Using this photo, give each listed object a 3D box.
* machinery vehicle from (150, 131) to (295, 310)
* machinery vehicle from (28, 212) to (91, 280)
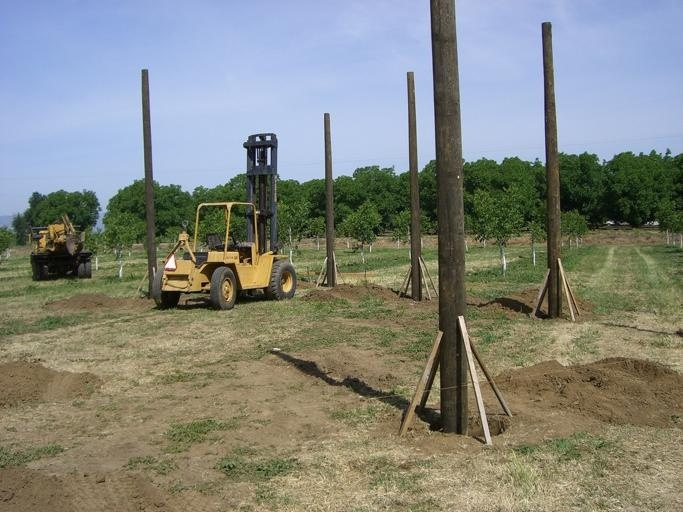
[{"bbox_3d":[-3.356,-1.066,17.698,2.807,5.240,3.977,1,9,14],"label":"machinery vehicle"},{"bbox_3d":[-13.703,-0.300,28.368,1.979,2.523,3.851,0,-1,-24],"label":"machinery vehicle"}]
